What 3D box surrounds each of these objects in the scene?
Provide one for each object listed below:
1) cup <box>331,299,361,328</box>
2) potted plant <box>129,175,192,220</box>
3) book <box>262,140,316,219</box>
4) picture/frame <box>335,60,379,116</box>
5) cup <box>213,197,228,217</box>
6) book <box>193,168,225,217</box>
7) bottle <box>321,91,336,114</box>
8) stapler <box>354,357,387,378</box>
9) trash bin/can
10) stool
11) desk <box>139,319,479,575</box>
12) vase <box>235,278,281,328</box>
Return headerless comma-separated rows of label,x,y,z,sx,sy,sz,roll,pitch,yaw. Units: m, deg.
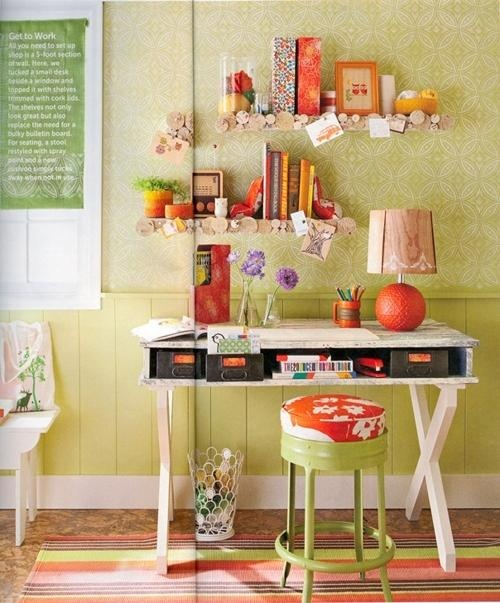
cup,0.290,0.039,1.830,0.086,0.088,0.059,-2,-2,31
potted plant,-0.283,-0.318,1.879,0.116,0.114,0.128,1,4,18
book,0.116,-0.362,1.822,0.149,0.223,0.085,1,12,2
picture/frame,0.321,-0.639,1.823,0.166,0.209,0.016,-1,-8,-2
cup,-0.088,-0.285,1.835,0.052,0.069,0.050,0,0,0
book,-0.133,-0.336,1.882,0.092,0.138,0.050,-1,12,-7
bottle,0.233,-0.598,1.810,0.057,0.070,0.060,2,1,16
stapler,0.324,0.180,1.649,0.032,0.054,0.120,-2,2,-24
trash bin/can,-0.104,0.603,1.881,0.211,0.290,0.216,1,-11,-3
stool,0.212,0.494,1.543,0.308,0.542,0.438,3,12,11
desk,0.158,0.525,1.828,1.095,0.830,0.628,-1,-3,-4
vase,0.021,0.008,1.861,0.145,0.140,0.061,0,1,-28
